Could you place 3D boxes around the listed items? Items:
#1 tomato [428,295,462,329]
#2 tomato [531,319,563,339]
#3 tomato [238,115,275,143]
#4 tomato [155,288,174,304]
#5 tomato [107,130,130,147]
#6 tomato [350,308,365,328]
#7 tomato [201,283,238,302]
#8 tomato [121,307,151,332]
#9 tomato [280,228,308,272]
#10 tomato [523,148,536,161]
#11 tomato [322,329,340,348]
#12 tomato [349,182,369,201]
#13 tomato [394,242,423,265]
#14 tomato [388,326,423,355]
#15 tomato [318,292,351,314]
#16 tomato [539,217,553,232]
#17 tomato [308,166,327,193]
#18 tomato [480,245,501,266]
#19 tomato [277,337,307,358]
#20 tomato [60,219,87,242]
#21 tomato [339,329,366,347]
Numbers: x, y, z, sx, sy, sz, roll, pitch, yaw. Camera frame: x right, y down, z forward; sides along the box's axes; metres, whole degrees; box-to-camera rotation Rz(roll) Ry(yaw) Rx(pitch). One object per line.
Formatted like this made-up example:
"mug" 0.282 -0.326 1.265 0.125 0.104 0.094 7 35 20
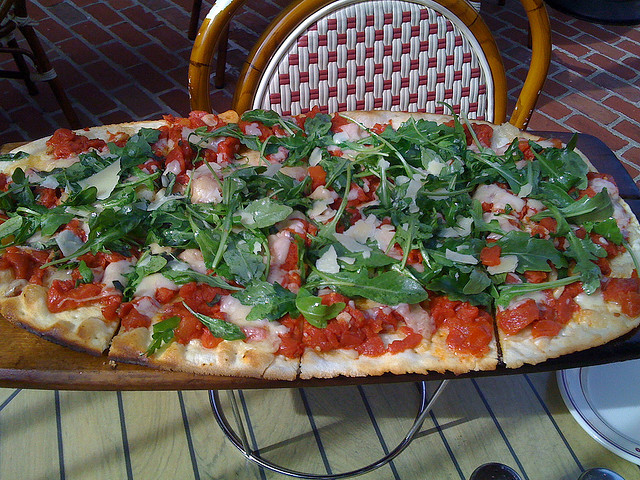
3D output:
"tomato" 0.363 0.211 1.449 0.110 0.036 0.088 -6 78 10
"tomato" 0.673 0.260 1.471 0.106 0.028 0.054 -5 62 -5
"tomato" -0.233 -0.392 1.802 0.123 0.026 0.095 34 37 18
"tomato" -0.457 0.160 1.455 0.060 0.035 0.040 12 96 14
"tomato" -0.725 -0.356 1.779 0.089 0.032 0.071 0 77 -2
"tomato" 0.110 0.227 1.440 0.049 0.020 0.046 -10 80 -18
"tomato" -0.303 0.156 1.436 0.101 0.026 0.046 16 63 7
"tomato" -0.529 0.225 1.426 0.076 0.024 0.069 -15 63 -10
"tomato" -0.088 0.030 1.491 0.121 0.040 0.116 -1 41 -2
"tomato" 0.738 -0.302 1.765 0.061 0.014 0.040 -5 58 -4
"tomato" 0.034 0.278 1.409 0.056 0.014 0.031 46 58 6
"tomato" 0.114 -0.157 1.674 0.062 0.018 0.069 46 42 19
"tomato" 0.279 0.047 1.518 0.096 0.025 0.065 -1 56 -4
"tomato" 0.249 0.296 1.450 0.070 0.038 0.106 27 64 12
"tomato" 0.038 0.172 1.414 0.092 0.091 0.061 14 66 4
"tomato" 0.733 -0.048 1.611 0.052 0.047 0.037 -2 76 30
"tomato" -0.008 -0.207 1.698 0.098 0.081 0.069 0 88 -1
"tomato" 0.505 0.047 1.482 0.059 0.032 0.060 5 62 1
"tomato" -0.083 0.306 1.404 0.075 0.038 0.055 16 64 6
"tomato" -0.745 -0.030 1.524 0.079 0.023 0.073 36 23 -16
"tomato" 0.092 0.282 1.423 0.083 0.042 0.044 -19 67 -12
